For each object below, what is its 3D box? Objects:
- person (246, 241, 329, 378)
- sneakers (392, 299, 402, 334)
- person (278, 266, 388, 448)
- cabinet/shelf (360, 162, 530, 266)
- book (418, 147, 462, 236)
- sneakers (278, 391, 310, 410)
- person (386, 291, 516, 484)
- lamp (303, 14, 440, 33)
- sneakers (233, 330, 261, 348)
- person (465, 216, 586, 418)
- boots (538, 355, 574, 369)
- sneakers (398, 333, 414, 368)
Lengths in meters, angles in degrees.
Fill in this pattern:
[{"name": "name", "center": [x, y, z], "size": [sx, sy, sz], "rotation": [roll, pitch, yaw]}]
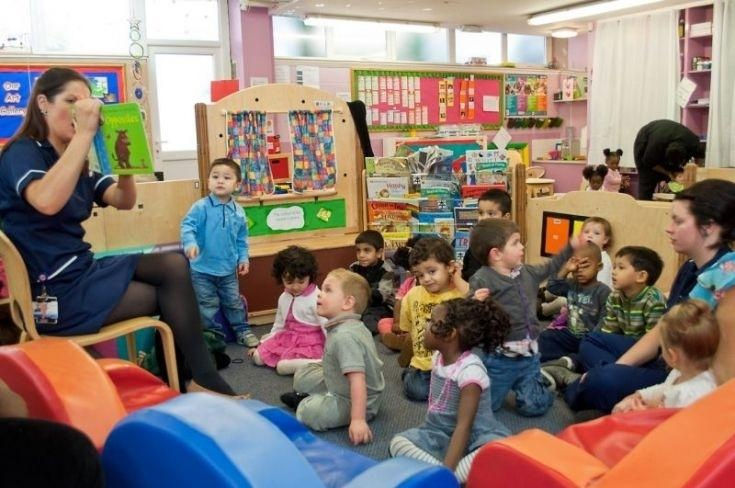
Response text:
[{"name": "person", "center": [-0.536, 0.441, 3.434], "size": [0.517, 0.761, 0.699], "rotation": [-7, 11, -43]}, {"name": "sneakers", "center": [0.188, 0.477, 3.500], "size": [0.050, 0.169, 0.128], "rotation": [5, 0, 9]}, {"name": "person", "center": [-0.150, 0.522, 2.672], "size": [0.471, 0.742, 0.767], "rotation": [1, 1, -17]}, {"name": "cabinet/shelf", "center": [0.573, -0.327, 4.478], "size": [1.246, 0.859, 0.450], "rotation": [2, -10, 4]}, {"name": "book", "center": [0.569, -0.417, 4.353], "size": [0.345, 0.707, 0.382], "rotation": [0, 16, 5]}, {"name": "sneakers", "center": [-0.379, 0.790, 2.708], "size": [0.183, 0.077, 0.068], "rotation": [-4, 3, 12]}, {"name": "person", "center": [0.360, 0.554, 2.449], "size": [0.657, 0.909, 0.645], "rotation": [0, 3, 1]}, {"name": "lamp", "center": [0.029, -3.662, 8.937], "size": [2.620, 0.128, 0.519], "rotation": [-10, 18, -31]}, {"name": "sneakers", "center": [-0.825, 0.660, 3.683], "size": [0.210, 0.084, 0.084], "rotation": [7, 12, 45]}, {"name": "person", "center": [0.764, 0.386, 2.630], "size": [0.612, 0.938, 0.450], "rotation": [-4, 6, -11]}, {"name": "boots", "center": [1.083, 0.663, 3.030], "size": [0.122, 0.051, 0.071], "rotation": [-4, 4, -4]}, {"name": "sneakers", "center": [0.223, 0.635, 3.159], "size": [0.073, 0.212, 0.150], "rotation": [0, 0, -5]}]
